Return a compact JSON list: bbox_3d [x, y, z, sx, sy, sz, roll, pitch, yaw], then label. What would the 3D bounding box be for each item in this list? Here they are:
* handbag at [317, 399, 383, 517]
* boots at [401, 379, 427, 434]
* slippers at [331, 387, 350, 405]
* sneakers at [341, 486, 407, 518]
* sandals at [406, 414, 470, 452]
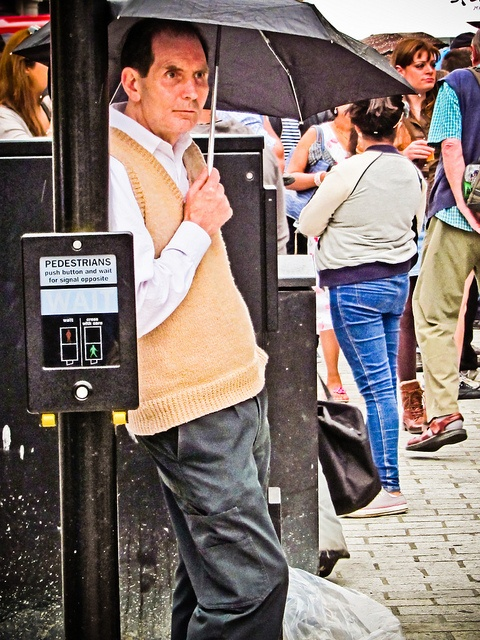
[{"bbox_3d":[0.443,0.556,3.775,0.232,0.445,0.431,-3,9,6],"label":"handbag"},{"bbox_3d":[1.072,0.520,5.653,0.150,0.291,0.394,-10,8,7],"label":"boots"},{"bbox_3d":[0.674,0.499,6.255,0.135,0.138,0.318,-1,-8,-1],"label":"slippers"},{"bbox_3d":[0.668,0.875,4.409,0.351,0.145,0.124,1,-8,-7],"label":"sneakers"},{"bbox_3d":[1.094,0.624,5.092,0.143,0.186,0.419,16,-29,-30],"label":"sandals"}]
